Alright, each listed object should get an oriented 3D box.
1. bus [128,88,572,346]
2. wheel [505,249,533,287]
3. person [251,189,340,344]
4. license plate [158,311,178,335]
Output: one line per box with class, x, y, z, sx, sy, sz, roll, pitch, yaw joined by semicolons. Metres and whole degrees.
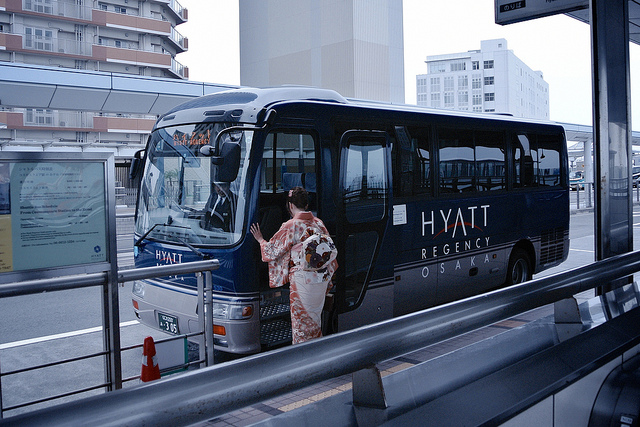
bus;1.350;-0.151;10.271;9.409;3.398;3.092;-3;3;-43
wheel;4.089;1.182;10.797;0.511;0.549;0.148;-11;-10;-5
person;-0.228;0.631;6.567;0.705;1.802;0.651;13;18;38
license plate;-2.173;1.580;7.448;0.490;0.279;0.064;16;20;40
